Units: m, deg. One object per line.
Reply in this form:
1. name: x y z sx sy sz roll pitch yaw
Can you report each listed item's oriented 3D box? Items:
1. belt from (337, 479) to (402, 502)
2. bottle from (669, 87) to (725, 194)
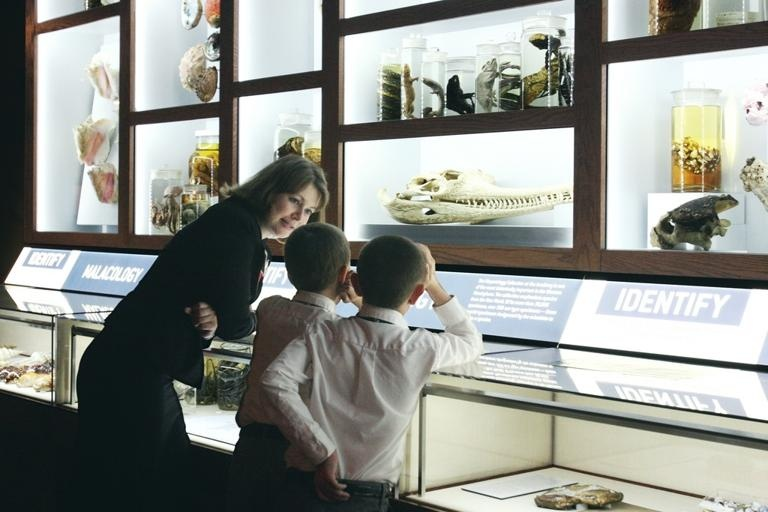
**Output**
1. belt: -0.036 0.653 1.823 0.117 0.034 0.102 0 -5 8
2. bottle: 1.094 -0.403 2.249 0.173 0.357 0.102 5 8 22
